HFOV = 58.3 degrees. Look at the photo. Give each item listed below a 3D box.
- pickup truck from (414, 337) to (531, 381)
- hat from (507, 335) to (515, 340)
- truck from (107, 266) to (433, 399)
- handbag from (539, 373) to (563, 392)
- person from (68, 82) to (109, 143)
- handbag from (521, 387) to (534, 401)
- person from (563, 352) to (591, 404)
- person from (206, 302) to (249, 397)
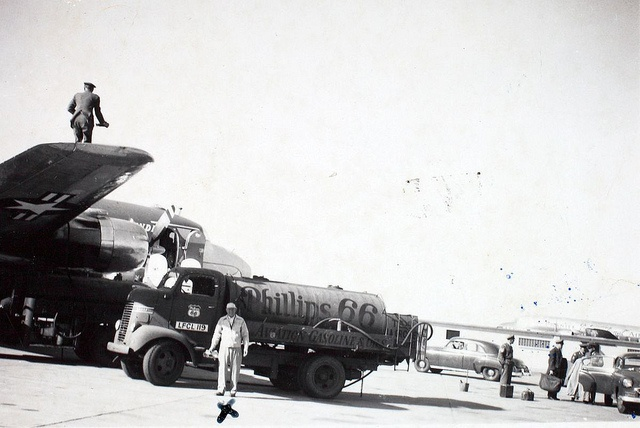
[{"bbox_3d":[5.816,5.804,24.030,4.785,1.800,2.090,4,-11,25],"label":"pickup truck"},{"bbox_3d":[6.349,4.178,19.294,0.213,0.081,0.188,-3,-4,31],"label":"hat"},{"bbox_3d":[-1.605,3.131,15.685,9.194,3.460,3.413,11,-10,-15],"label":"truck"},{"bbox_3d":[7.299,5.430,18.323,0.623,0.560,0.323,6,-3,27],"label":"handbag"},{"bbox_3d":[-5.284,-2.307,13.115,0.726,1.416,0.608,5,-3,31],"label":"person"},{"bbox_3d":[6.278,5.549,17.551,0.326,0.373,0.372,2,-8,11],"label":"handbag"},{"bbox_3d":[8.230,5.315,18.754,0.380,1.325,0.903,4,11,-8],"label":"person"},{"bbox_3d":[-2.124,3.151,13.323,0.829,1.928,0.998,5,-3,31],"label":"person"}]
